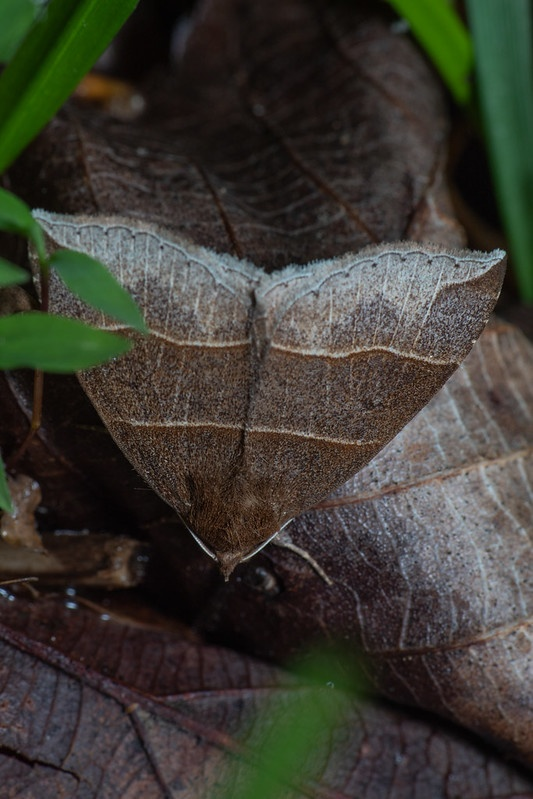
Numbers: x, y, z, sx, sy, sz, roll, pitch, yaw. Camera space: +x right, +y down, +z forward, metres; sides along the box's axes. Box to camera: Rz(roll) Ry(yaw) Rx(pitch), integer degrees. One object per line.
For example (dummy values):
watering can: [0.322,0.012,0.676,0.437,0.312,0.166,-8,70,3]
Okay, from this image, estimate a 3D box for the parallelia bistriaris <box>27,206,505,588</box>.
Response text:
parallelia bistriaris: [-0.035,-0.009,0.860,0.473,0.232,0.373,14,74,5]
